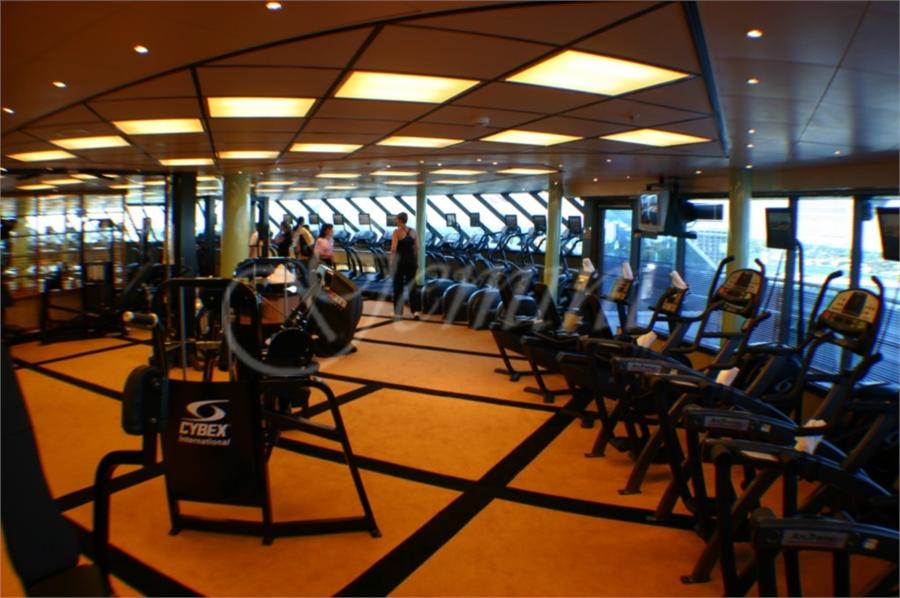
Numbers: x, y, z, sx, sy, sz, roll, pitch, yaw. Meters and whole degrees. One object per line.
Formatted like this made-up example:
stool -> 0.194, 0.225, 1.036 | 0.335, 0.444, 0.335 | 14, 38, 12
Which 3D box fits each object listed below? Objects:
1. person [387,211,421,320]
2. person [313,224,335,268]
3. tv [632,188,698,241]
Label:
person -> -0.796, -0.596, 11.298 | 0.476, 1.832, 1.518 | -1, 5, -3
person -> -2.144, -0.932, 10.784 | 0.328, 0.692, 1.298 | -2, 6, -12
tv -> 3.216, -1.283, 9.125 | 0.917, 0.745, 0.628 | -8, 10, -14
